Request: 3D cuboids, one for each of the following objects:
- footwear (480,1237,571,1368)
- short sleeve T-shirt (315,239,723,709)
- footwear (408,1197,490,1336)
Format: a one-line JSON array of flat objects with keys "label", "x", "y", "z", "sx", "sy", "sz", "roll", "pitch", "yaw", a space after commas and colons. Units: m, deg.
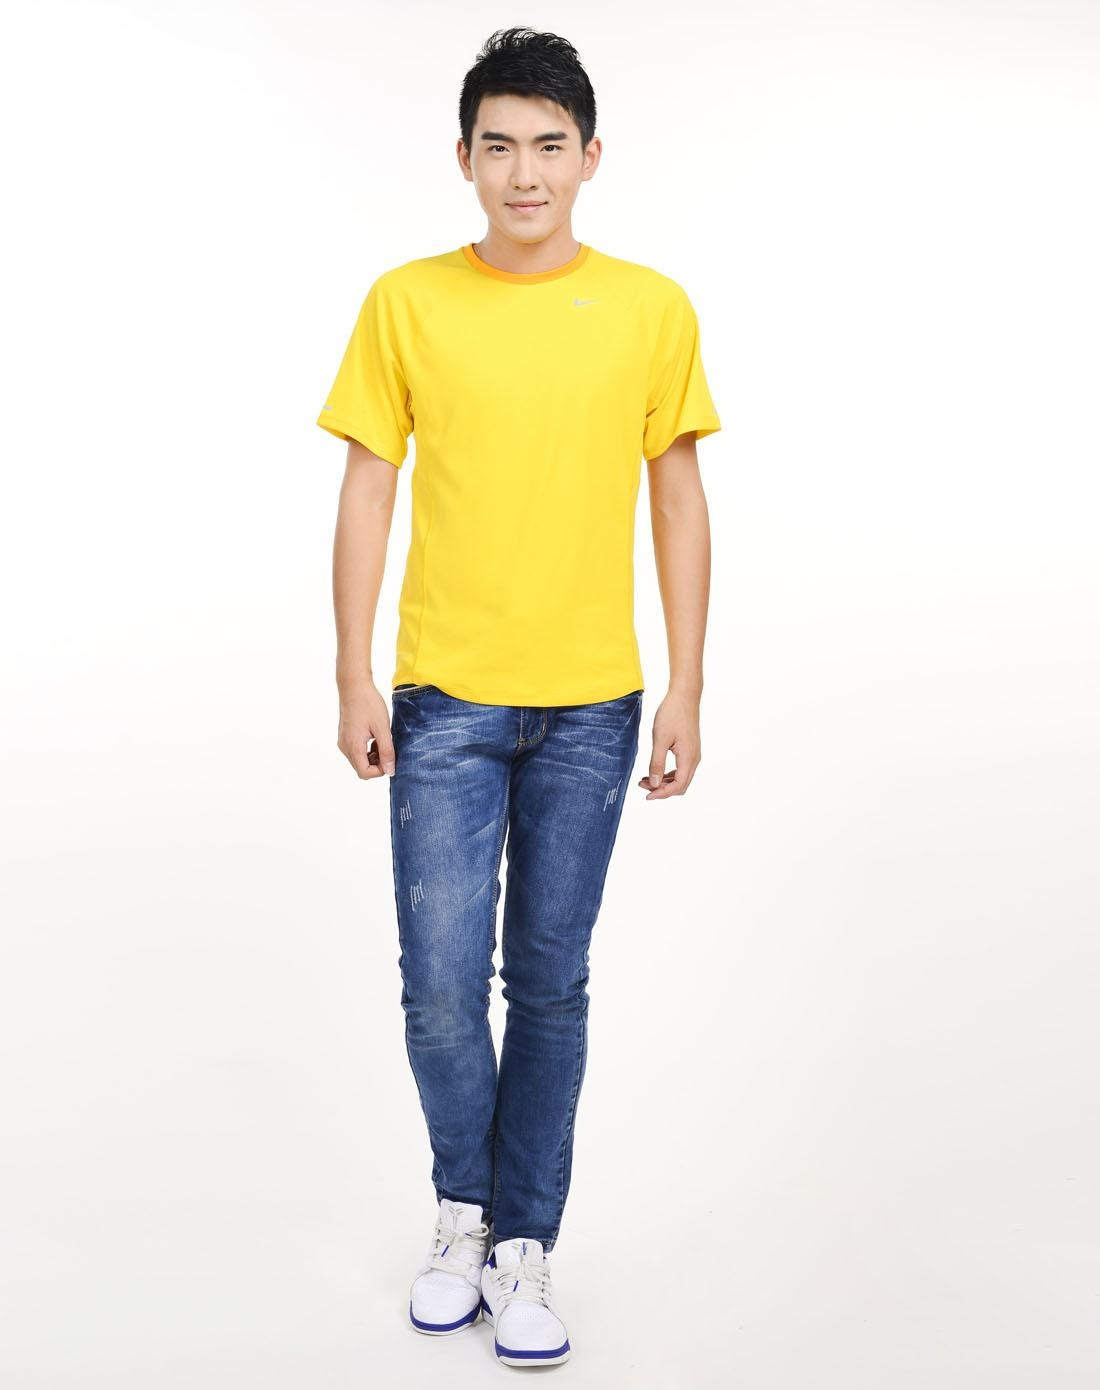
[{"label": "footwear", "x": -0.034, "y": 0.837, "z": 1.881, "sx": 0.077, "sy": 0.086, "sz": 0.204, "roll": -1, "pitch": 5, "yaw": -8}, {"label": "short sleeve T-shirt", "x": -0.028, "y": -0.292, "z": 1.804, "sx": 0.538, "sy": 0.598, "sz": 0.224, "roll": -1, "pitch": 10, "yaw": -9}, {"label": "footwear", "x": -0.127, "y": 0.806, "z": 1.933, "sx": 0.086, "sy": 0.223, "sz": 0.096, "roll": 6, "pitch": -39, "yaw": 3}]
